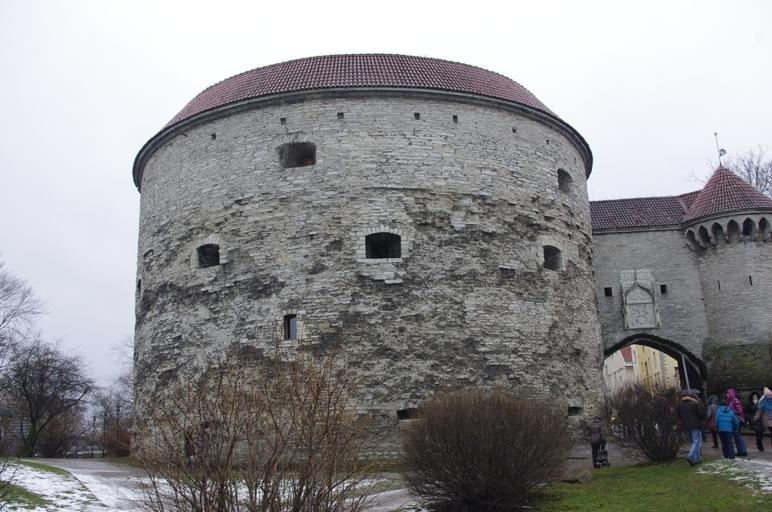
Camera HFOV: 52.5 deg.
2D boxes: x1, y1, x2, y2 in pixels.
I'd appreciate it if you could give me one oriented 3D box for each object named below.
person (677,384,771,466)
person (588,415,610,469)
[{"bbox_3d":[6.450,3.494,15.517,0.902,1.359,1.588,-12,-24,30],"label":"person"},{"bbox_3d":[4.461,3.946,16.488,0.323,1.121,0.605,-4,-22,13],"label":"person"}]
